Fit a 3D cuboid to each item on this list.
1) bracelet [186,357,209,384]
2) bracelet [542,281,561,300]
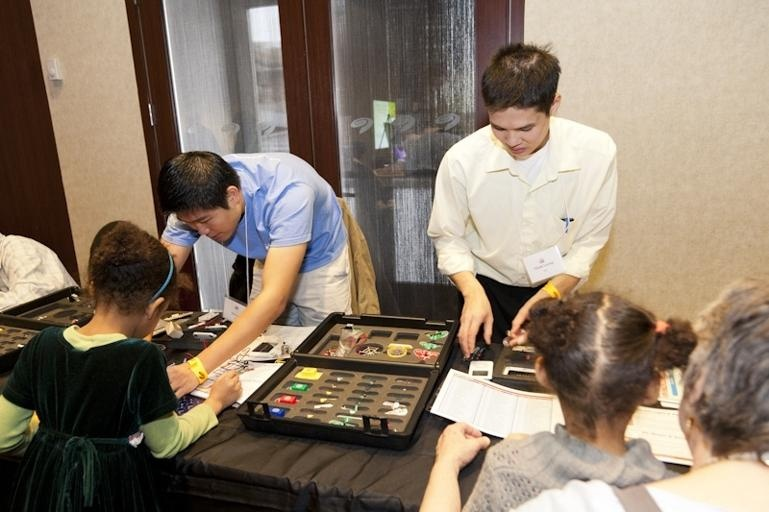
[{"bbox_3d":[-0.727,0.445,2.064,0.075,0.078,0.047,8,30,34],"label":"bracelet"},{"bbox_3d":[0.711,0.148,2.279,0.034,0.046,0.046,-31,57,4],"label":"bracelet"}]
